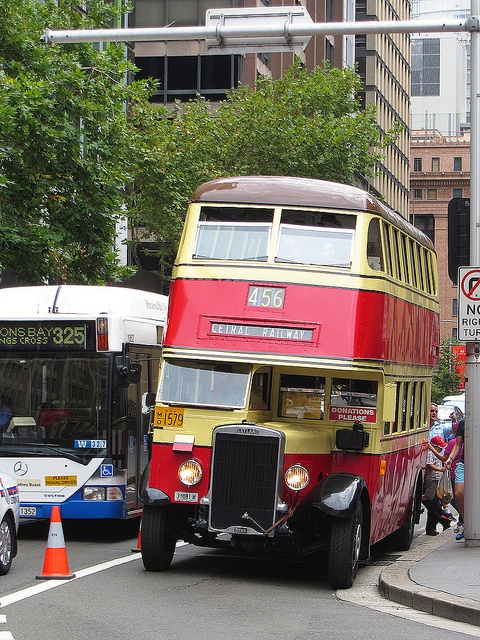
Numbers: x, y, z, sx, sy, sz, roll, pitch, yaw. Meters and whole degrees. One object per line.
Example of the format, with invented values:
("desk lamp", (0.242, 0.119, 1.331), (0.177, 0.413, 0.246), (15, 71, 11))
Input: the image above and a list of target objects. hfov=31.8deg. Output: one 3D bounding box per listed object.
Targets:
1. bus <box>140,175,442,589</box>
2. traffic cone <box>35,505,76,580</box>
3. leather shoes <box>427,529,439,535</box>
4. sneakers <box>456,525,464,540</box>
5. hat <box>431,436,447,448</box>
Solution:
("bus", (0.755, 0.488, 8.996), (1.969, 3.975, 3.842), (1, -2, 27))
("traffic cone", (-1.630, 1.972, 7.497), (0.328, 0.645, 0.543), (2, -1, -11))
("leather shoes", (3.061, 3.319, 13.270), (0.084, 0.091, 0.217), (2, 3, 27))
("sneakers", (2.863, 2.733, 10.876), (0.115, 0.146, 0.345), (1, -7, 23))
("hat", (3.305, 2.045, 13.958), (0.250, 0.137, 0.186), (15, 26, 11))
